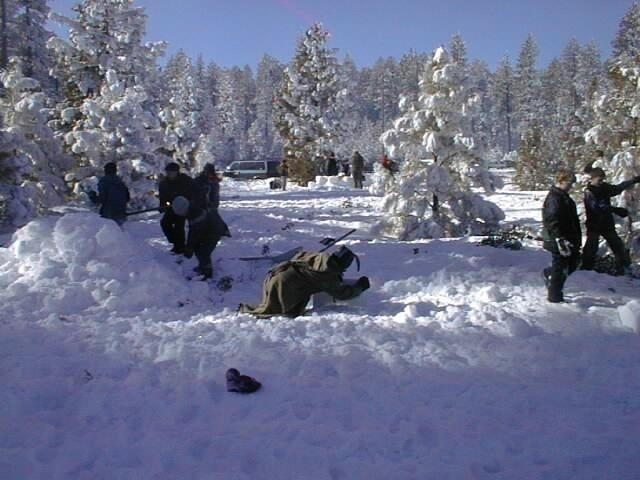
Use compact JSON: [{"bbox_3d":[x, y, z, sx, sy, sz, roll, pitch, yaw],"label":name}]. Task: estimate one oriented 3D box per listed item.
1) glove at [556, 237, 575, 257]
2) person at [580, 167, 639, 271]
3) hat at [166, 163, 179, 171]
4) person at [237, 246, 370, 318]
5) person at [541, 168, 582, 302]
[{"bbox_3d":[4.191,0.133,10.261,0.254,0.330,0.084,-10,-5,6],"label":"glove"},{"bbox_3d":[5.734,-0.384,11.918,0.911,2.092,0.575,2,15,17],"label":"person"},{"bbox_3d":[-3.287,-1.621,13.258,0.289,0.200,0.270,-9,16,-23],"label":"hat"},{"bbox_3d":[-0.185,0.986,10.680,1.728,0.644,1.273,-16,18,-24],"label":"person"},{"bbox_3d":[4.244,-0.057,10.547,0.673,2.247,0.695,11,19,41],"label":"person"}]
